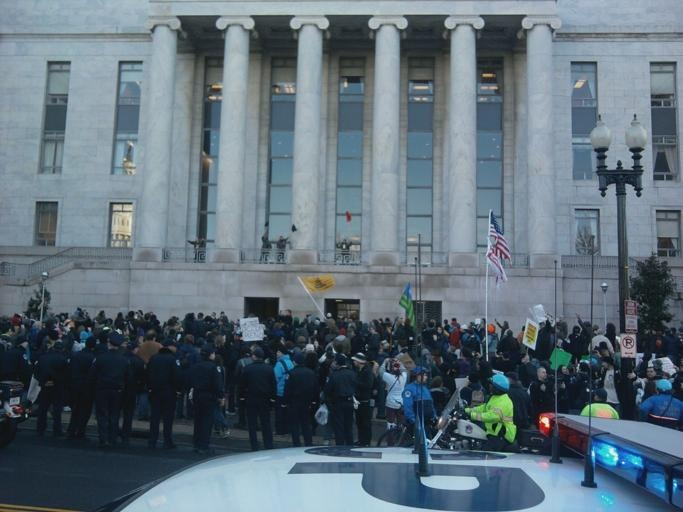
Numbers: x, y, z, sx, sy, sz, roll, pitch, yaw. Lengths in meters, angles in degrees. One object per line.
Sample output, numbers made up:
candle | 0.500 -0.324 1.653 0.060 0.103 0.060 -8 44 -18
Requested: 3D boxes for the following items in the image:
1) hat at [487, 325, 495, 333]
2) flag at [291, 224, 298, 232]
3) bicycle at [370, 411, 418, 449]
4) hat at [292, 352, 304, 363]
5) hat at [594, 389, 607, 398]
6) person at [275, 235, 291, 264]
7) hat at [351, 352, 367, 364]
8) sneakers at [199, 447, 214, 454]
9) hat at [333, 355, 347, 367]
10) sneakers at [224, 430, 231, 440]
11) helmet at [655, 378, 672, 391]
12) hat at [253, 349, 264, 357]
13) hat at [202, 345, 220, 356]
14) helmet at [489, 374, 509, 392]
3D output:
hat | 6.201 3.130 41.861 0.353 0.177 0.502 0 -7 2
flag | -2.366 -1.282 50.409 0.251 0.356 0.118 -6 -16 8
bicycle | 1.426 5.767 32.371 1.820 1.156 0.905 -3 -8 15
hat | -1.385 3.398 32.820 0.355 0.380 0.368 0 -3 -6
hat | 7.921 4.309 30.850 0.320 0.359 0.396 -1 -3 13
person | -3.120 -0.239 53.330 0.676 1.498 2.287 0 -3 -3
hat | 0.563 3.507 33.419 0.393 0.205 0.358 25 6 14
sneakers | -4.413 6.396 32.958 0.183 0.230 0.546 6 3 28
hat | -0.028 3.499 33.202 0.397 0.393 0.422 0 -3 0
sneakers | -3.939 6.227 34.721 0.214 0.272 0.640 0 -12 -1
helmet | 10.037 4.138 31.523 0.380 0.386 0.499 1 7 22
hat | -2.677 3.216 32.755 0.305 0.310 0.259 1 -3 -19
hat | -4.330 3.199 33.141 0.297 0.424 0.576 -2 -4 29
helmet | 4.815 3.875 30.618 0.556 0.433 0.271 36 -34 11
